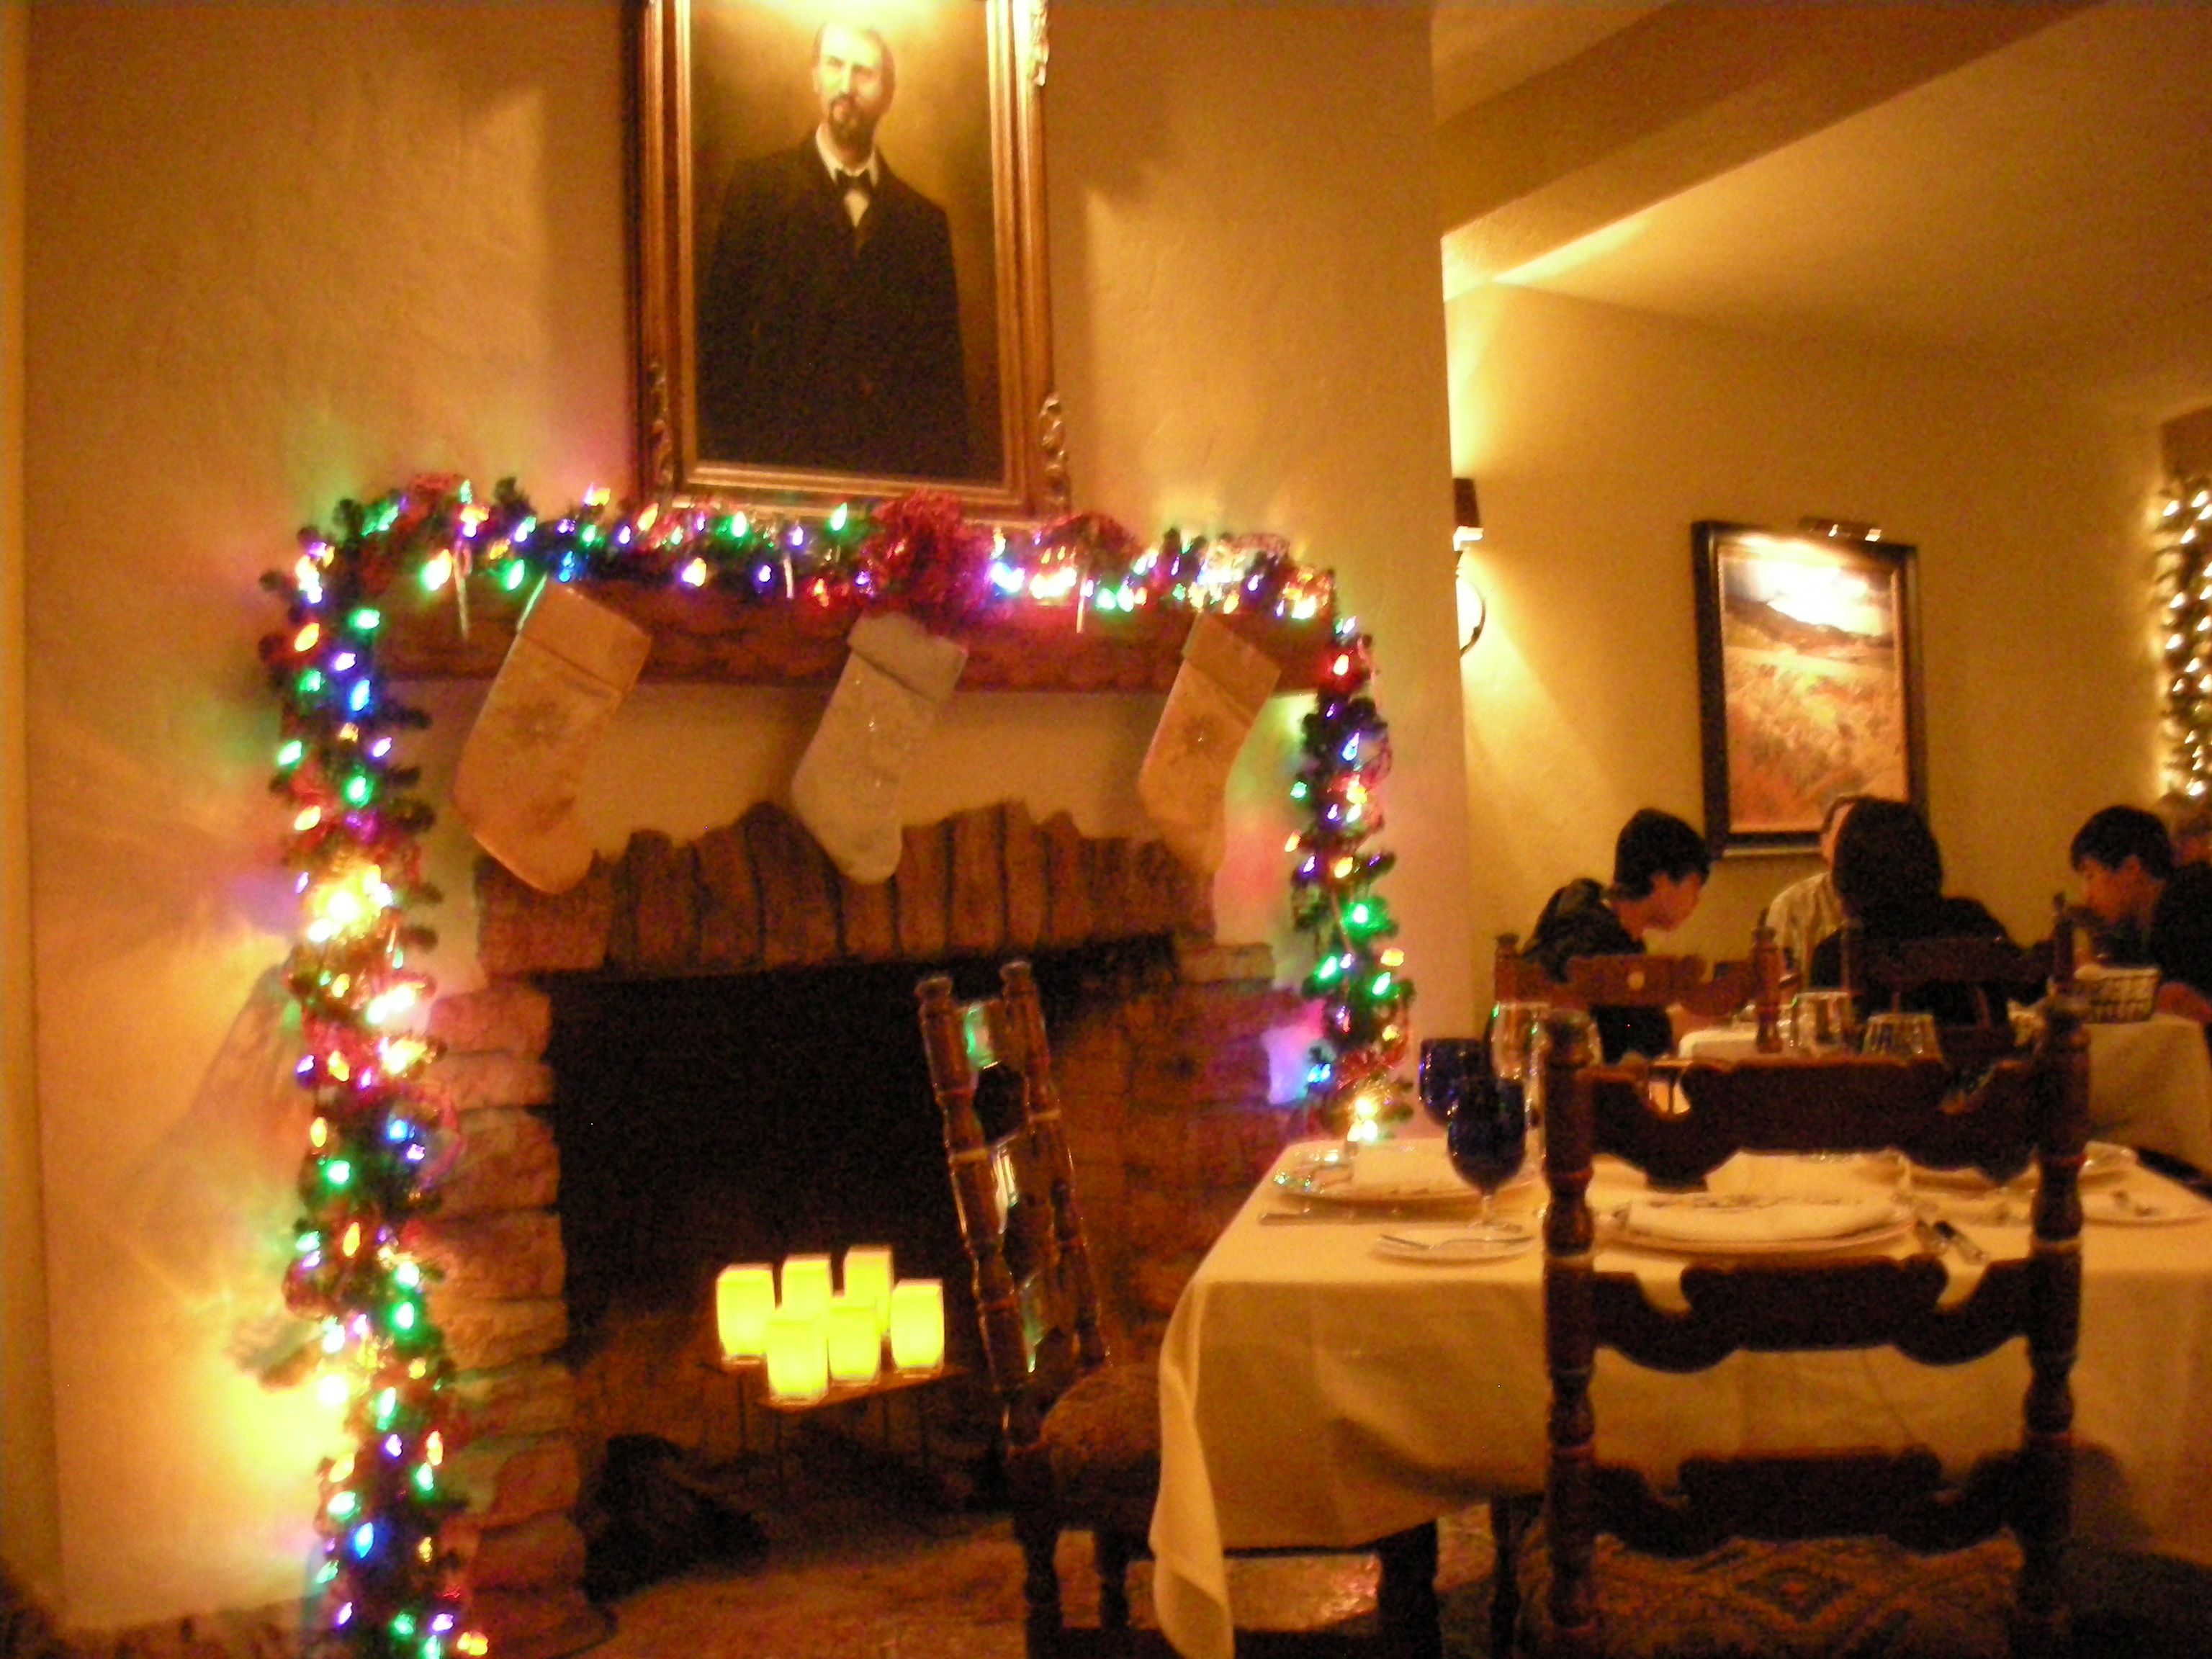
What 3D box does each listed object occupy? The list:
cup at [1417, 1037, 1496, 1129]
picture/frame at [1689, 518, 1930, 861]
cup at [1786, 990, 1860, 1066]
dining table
[{"bbox_3d":[0.433,0.316,2.479,0.097,0.114,0.100,0,-3,0],"label":"cup"},{"bbox_3d":[2.180,-0.450,6.237,1.092,1.121,0.078,2,-6,-36],"label":"picture/frame"},{"bbox_3d":[0.985,0.271,2.721,0.064,0.091,0.065,1,-9,0],"label":"cup"},{"bbox_3d":[0.702,0.614,2.336,0.928,0.353,0.953,-6,-11,5],"label":"dining table"}]
